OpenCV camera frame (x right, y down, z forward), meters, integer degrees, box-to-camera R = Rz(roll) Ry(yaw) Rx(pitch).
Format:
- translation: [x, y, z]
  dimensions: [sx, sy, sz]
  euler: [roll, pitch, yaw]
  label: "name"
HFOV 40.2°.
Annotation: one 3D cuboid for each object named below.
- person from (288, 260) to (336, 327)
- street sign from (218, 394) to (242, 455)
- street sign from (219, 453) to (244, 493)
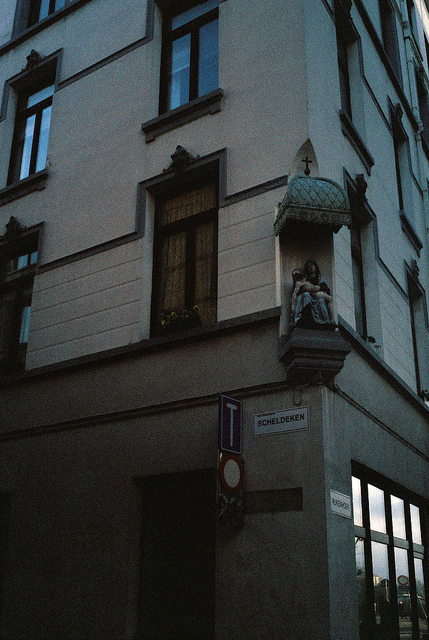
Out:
- translation: [1.181, -0.289, 7.138]
  dimensions: [0.399, 0.986, 0.514]
  euler: [-2, -47, 11]
  label: "person"
- translation: [0.178, 1.230, 6.675]
  dimensions: [0.060, 0.767, 0.347]
  euler: [-20, -33, 37]
  label: "street sign"
- translation: [0.188, 1.704, 6.439]
  dimensions: [0.303, 0.423, 0.037]
  euler: [8, -19, -32]
  label: "street sign"
